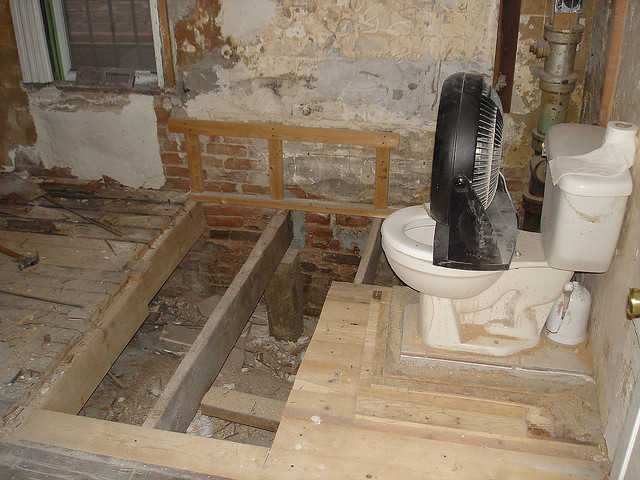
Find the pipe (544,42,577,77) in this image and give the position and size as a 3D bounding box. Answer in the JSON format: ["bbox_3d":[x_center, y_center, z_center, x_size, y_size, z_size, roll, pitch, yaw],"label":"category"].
[{"bbox_3d":[1.341,-1.013,2.768,0.148,0.179,0.085,9,30,19],"label":"pipe"}]
